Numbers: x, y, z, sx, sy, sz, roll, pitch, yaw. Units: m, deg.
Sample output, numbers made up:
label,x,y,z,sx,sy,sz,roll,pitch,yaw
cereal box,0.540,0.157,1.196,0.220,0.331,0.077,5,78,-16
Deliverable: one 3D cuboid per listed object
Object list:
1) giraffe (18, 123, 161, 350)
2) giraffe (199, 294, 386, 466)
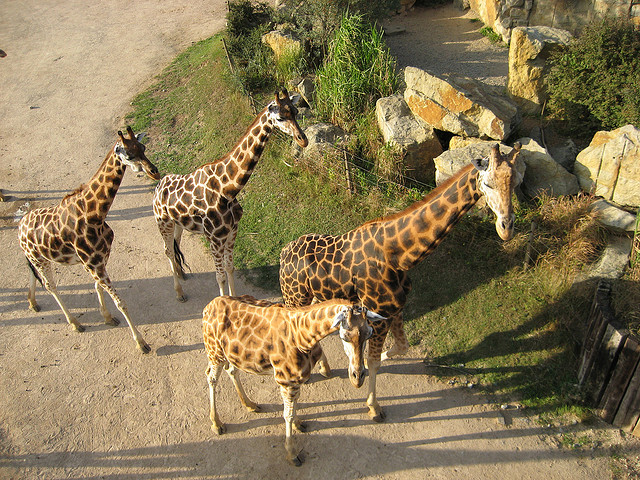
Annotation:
label,x,y,z,sx,sy,sz,roll,pitch,yaw
giraffe,-5.302,-0.215,14.347,3.462,4.491,1.764,12,36,18
giraffe,-0.554,2.890,12.903,2.192,2.829,0.898,19,49,12
